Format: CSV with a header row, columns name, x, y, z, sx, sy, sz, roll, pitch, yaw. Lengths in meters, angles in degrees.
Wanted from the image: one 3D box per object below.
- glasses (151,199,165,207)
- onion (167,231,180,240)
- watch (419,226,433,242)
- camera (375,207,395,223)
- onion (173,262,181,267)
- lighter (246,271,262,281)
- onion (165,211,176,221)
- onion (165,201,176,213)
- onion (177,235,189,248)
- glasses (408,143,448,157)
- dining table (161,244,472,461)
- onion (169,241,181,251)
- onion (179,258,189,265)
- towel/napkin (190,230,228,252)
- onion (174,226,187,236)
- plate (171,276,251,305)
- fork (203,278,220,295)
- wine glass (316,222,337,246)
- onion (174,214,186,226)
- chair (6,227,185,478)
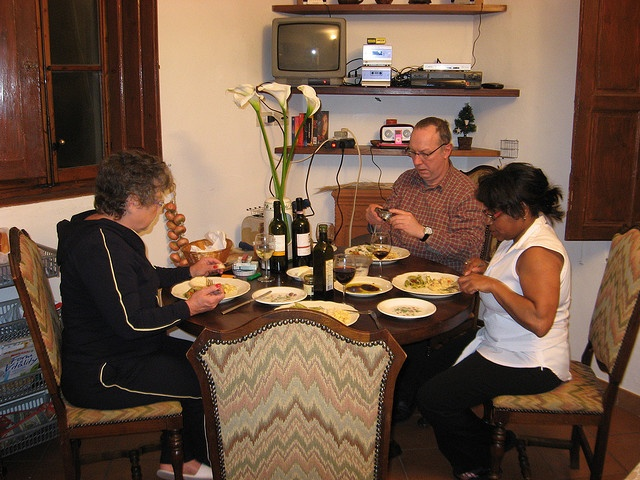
name,x,y,z,sx,sy,sz,roll,pitch,yaw
glasses,-0.692,-0.164,2.316,0.062,0.022,0.065,0,1,-17
onion,-0.906,-0.029,3.332,0.065,0.036,0.049,14,-18,-13
watch,0.566,-0.039,2.849,0.054,0.081,0.077,14,1,-12
camera,0.340,-0.138,2.869,0.074,0.057,0.084,2,-7,1
onion,-0.873,0.143,3.290,0.054,0.036,0.064,2,2,3
lighter,-0.314,0.177,2.606,0.079,0.029,0.014,-26,-6,-47
onion,-0.920,-0.155,3.316,0.050,0.036,0.064,9,-5,-1
onion,-0.924,-0.213,3.369,0.075,0.061,0.080,7,-31,-8
onion,-0.811,0.000,3.212,0.064,0.063,0.064,-16,-17,-2
glasses,0.624,-0.528,3.142,0.247,0.089,0.158,5,18,21
dining table,0.200,0.329,2.600,1.153,0.724,1.171,-1,9,0
onion,-0.884,0.033,3.285,0.068,0.052,0.038,1,35,4
onion,-0.789,0.119,3.129,0.050,0.050,0.050,-1,9,-8
towel/napkin,-0.575,0.017,2.866,0.133,0.060,0.140,-6,11,0
onion,-0.846,-0.062,3.258,0.057,0.057,0.057,-9,-13,23
plate,-0.466,0.212,2.467,0.174,0.025,0.174,7,15,25
fork,-0.477,0.203,2.373,0.037,0.034,0.245,5,0,-26
wine glass,0.034,-0.031,2.491,0.109,0.108,0.107,-1,0,1
onion,-0.862,-0.129,3.317,0.067,0.067,0.065,2,13,-18
chair,-0.965,0.527,2.226,0.758,1.115,0.376,10,21,35
